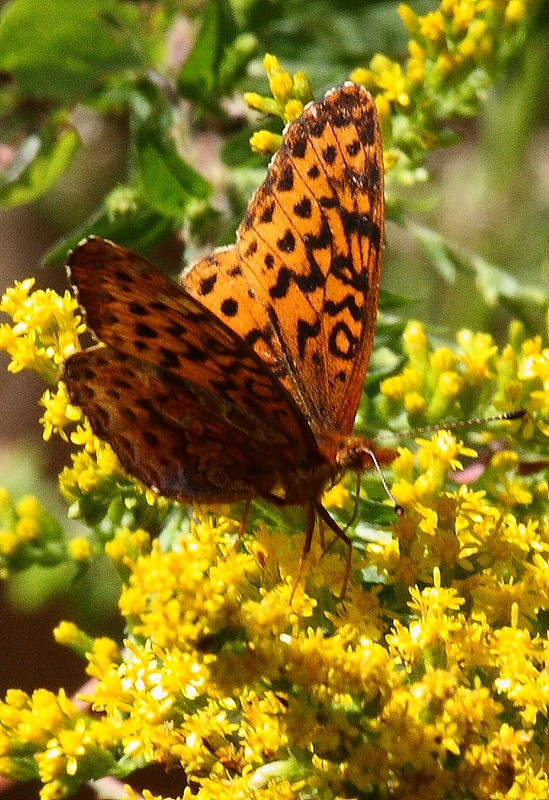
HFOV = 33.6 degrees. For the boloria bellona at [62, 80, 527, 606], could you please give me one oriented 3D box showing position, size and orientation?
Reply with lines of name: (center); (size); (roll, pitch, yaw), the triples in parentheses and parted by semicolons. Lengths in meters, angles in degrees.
boloria bellona: (-0.036, -0.054, 1.012); (0.498, 0.564, 0.373); (-1, 76, 28)
